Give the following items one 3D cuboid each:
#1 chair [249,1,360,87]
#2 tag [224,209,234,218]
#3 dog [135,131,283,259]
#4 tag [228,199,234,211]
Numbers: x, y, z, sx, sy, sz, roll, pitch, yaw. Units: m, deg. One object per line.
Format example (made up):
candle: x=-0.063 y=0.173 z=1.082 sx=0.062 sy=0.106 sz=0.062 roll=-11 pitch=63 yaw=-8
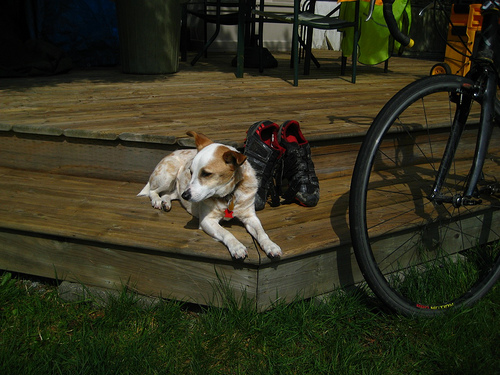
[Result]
chair: x=0.741 y=-2.121 z=4.759 sx=1.366 sy=1.199 sz=2.137 roll=-1 pitch=22 yaw=-5
tag: x=-0.133 y=0.145 z=1.919 sx=0.045 sy=0.039 sz=0.015 roll=4 pitch=27 yaw=-2
dog: x=-0.299 y=-0.040 z=2.124 sx=0.649 sy=0.548 sz=1.200 roll=2 pitch=15 yaw=-33
tag: x=-0.111 y=0.102 z=1.913 sx=0.037 sy=0.045 sz=0.012 roll=-3 pitch=2 yaw=-12
